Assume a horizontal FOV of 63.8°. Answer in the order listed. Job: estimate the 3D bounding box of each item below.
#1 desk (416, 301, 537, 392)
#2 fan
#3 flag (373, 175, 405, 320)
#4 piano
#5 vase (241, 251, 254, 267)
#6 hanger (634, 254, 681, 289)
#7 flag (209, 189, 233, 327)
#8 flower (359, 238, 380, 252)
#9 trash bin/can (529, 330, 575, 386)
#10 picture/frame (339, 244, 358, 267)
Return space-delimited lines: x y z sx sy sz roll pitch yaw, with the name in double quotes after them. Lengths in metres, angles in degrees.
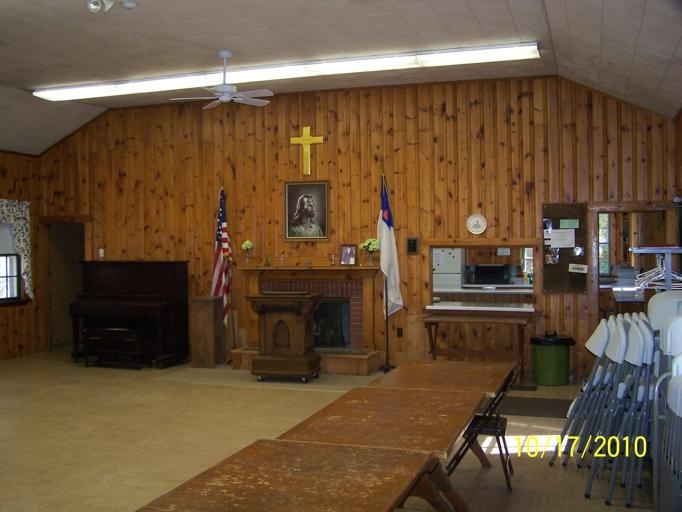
1.994 1.422 7.903 1.538 0.966 1.100 1 5 20 "desk"
-1.705 -2.548 7.875 0.776 0.404 0.797 -6 -7 43 "fan"
0.772 -0.165 8.524 0.389 2.195 0.369 -1 3 8 "flag"
-3.667 0.967 9.437 1.978 1.749 0.787 0 3 15 "piano"
-1.567 0.047 9.238 0.232 0.276 0.229 3 -3 -43 "vase"
3.365 0.225 5.770 0.488 0.316 0.505 -1 -1 19 "hanger"
-2.021 -0.015 9.205 0.360 2.268 0.517 -2 3 -11 "flag"
0.467 -0.153 8.484 0.224 0.132 0.230 1 0 22 "flower"
2.881 1.434 7.816 0.642 0.782 0.647 1 -4 -2 "trash bin/can"
0.135 -0.008 8.733 0.329 0.403 0.053 -1 -15 15 "picture/frame"
